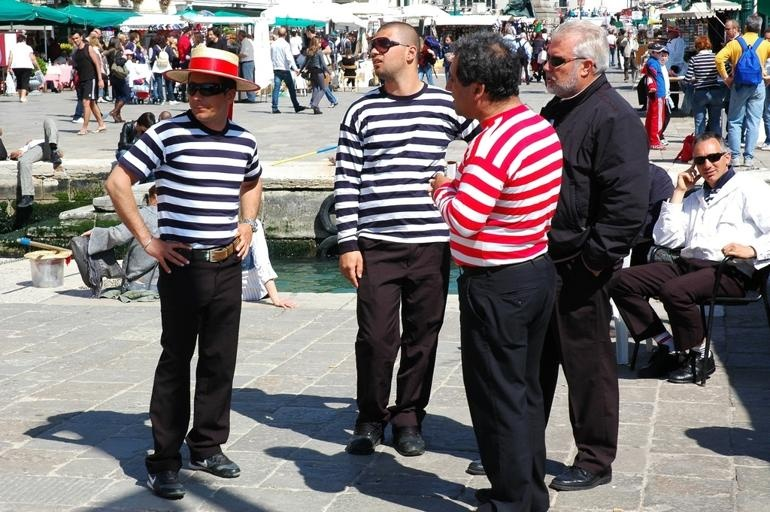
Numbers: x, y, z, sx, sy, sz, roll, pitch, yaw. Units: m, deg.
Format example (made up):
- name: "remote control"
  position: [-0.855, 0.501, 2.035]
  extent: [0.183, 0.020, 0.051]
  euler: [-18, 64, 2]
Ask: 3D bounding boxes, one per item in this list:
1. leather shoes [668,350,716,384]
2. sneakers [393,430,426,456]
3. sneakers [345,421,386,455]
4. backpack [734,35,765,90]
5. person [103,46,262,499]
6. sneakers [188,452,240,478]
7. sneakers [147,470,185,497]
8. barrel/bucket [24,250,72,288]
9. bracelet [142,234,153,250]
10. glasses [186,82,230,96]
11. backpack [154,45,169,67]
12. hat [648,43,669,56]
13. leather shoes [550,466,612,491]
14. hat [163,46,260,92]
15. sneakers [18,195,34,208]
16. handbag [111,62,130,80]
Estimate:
- name: "leather shoes"
  position: [2.299, 0.842, 7.457]
  extent: [0.429, 0.165, 0.168]
  euler: [-7, 7, -14]
- name: "sneakers"
  position: [0.145, 1.216, 6.492]
  extent: [0.220, 0.153, 0.151]
  euler: [0, 11, 9]
- name: "sneakers"
  position: [-0.136, 1.199, 6.466]
  extent: [0.132, 0.121, 0.314]
  euler: [1, -4, 17]
- name: "backpack"
  position: [5.184, -2.783, 14.230]
  extent: [0.375, 0.669, 0.411]
  euler: [1, 12, 18]
- name: "person"
  position: [-1.113, 0.093, 6.035]
  extent: [0.905, 2.668, 0.398]
  euler: [-9, 13, -31]
- name: "sneakers"
  position: [-1.042, 1.312, 6.251]
  extent: [0.349, 0.126, 0.127]
  euler: [3, 0, 14]
- name: "sneakers"
  position: [-1.307, 1.387, 6.040]
  extent: [0.278, 0.110, 0.108]
  euler: [6, 7, 35]
- name: "barrel/bucket"
  position: [-3.467, 0.132, 10.317]
  extent: [0.424, 0.249, 0.386]
  euler: [0, 9, 0]
- name: "bracelet"
  position: [-1.400, -0.081, 5.876]
  extent: [0.019, 0.065, 0.073]
  euler: [42, -32, -28]
- name: "glasses"
  position: [-1.043, -0.998, 5.898]
  extent: [0.239, 0.086, 0.097]
  euler: [-3, 11, -9]
- name: "backpack"
  position: [-5.449, -4.947, 24.509]
  extent: [0.461, 0.527, 0.187]
  euler: [3, 8, 5]
- name: "hat"
  position: [4.736, -3.601, 17.219]
  extent: [0.353, 0.243, 0.487]
  euler: [0, 6, 2]
- name: "leather shoes"
  position: [1.186, 1.358, 6.046]
  extent: [0.351, 0.122, 0.142]
  euler: [2, -5, -10]
- name: "hat"
  position: [-0.983, -1.176, 6.036]
  extent: [0.401, 0.125, 0.372]
  euler: [0, -9, 17]
- name: "sneakers"
  position: [-5.460, -0.848, 15.163]
  extent: [0.144, 0.138, 0.313]
  euler: [10, 9, 13]
- name: "handbag"
  position: [-5.909, -4.129, 22.088]
  extent: [0.389, 0.383, 0.180]
  euler: [-1, -13, -32]
